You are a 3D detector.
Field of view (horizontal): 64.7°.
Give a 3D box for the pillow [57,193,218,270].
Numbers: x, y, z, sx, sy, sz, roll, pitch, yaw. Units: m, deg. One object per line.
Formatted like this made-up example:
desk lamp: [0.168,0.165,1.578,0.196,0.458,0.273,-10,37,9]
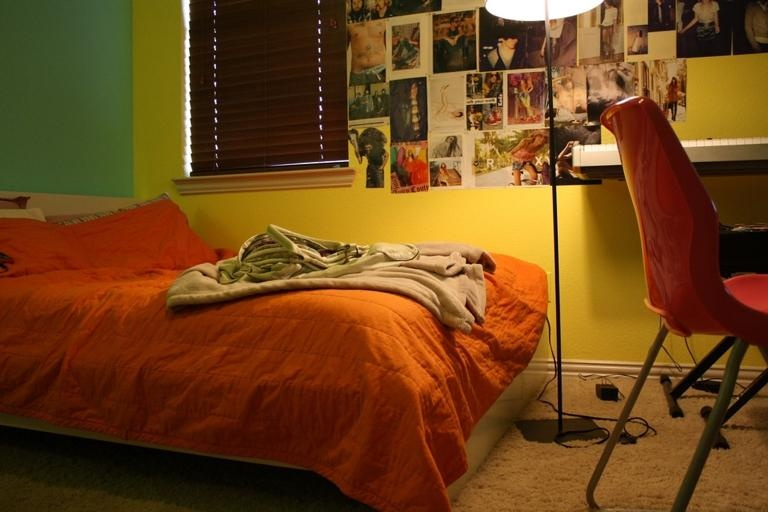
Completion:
pillow: [-1.389,-0.115,3.480,0.520,0.161,0.485,21,25,39]
